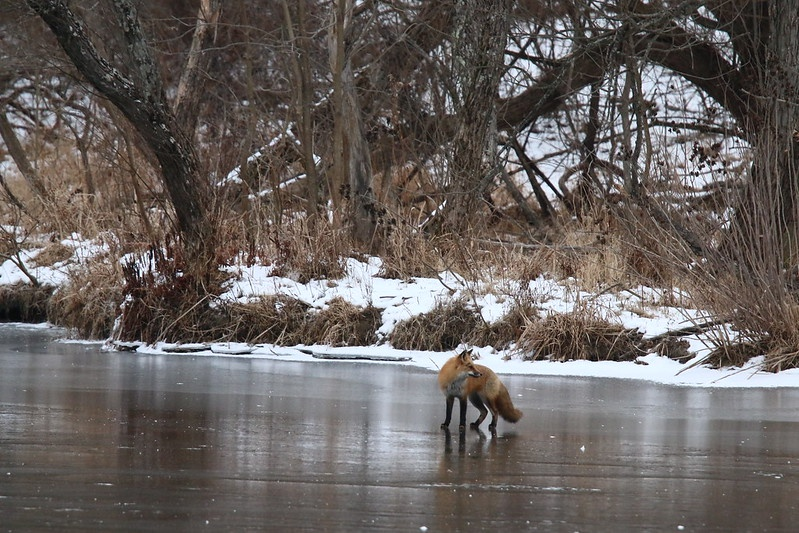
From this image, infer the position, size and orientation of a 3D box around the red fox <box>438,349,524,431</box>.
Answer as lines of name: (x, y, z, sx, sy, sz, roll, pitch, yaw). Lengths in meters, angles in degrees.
red fox: (0.776, 1.260, 12.563, 0.800, 0.818, 0.464, 2, -5, -39)
